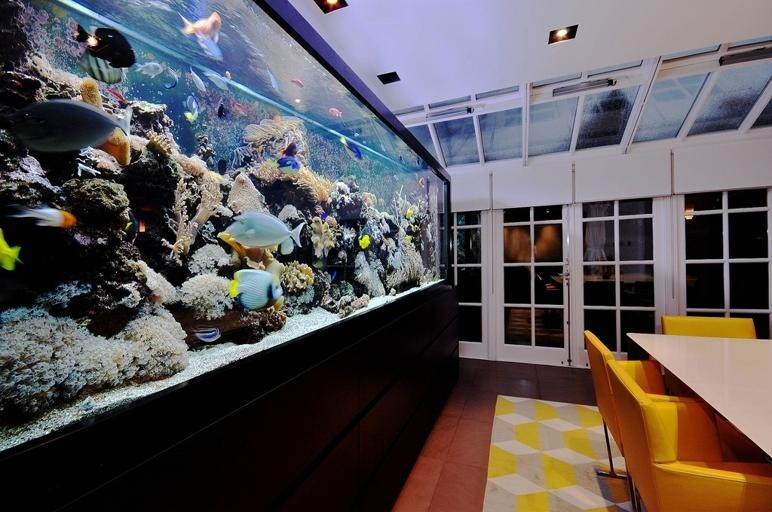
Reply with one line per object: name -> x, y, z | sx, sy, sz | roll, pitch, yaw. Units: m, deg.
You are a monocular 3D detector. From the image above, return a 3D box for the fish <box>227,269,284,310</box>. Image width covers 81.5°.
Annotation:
fish -> -0.505, 0.124, 1.750 | 0.038, 0.173, 0.256 | 3, 11, 25

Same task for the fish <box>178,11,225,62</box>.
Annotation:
fish -> -0.642, -0.781, 1.578 | 0.143, 0.164, 0.025 | -11, 14, -44

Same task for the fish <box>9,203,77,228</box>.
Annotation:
fish -> -1.034, -0.117, 1.349 | 0.142, 0.066, 0.058 | 8, 26, -30

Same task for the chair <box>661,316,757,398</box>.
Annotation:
chair -> 2.387, 0.677, 3.307 | 0.418, 0.284, 0.223 | -4, -26, 16

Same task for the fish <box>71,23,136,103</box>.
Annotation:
fish -> -0.835, -0.623, 1.418 | 0.355, 0.210, 0.069 | 5, 0, 22

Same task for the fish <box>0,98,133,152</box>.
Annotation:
fish -> -0.940, -0.393, 1.366 | 0.383, 0.147, 0.109 | -7, 32, -29
